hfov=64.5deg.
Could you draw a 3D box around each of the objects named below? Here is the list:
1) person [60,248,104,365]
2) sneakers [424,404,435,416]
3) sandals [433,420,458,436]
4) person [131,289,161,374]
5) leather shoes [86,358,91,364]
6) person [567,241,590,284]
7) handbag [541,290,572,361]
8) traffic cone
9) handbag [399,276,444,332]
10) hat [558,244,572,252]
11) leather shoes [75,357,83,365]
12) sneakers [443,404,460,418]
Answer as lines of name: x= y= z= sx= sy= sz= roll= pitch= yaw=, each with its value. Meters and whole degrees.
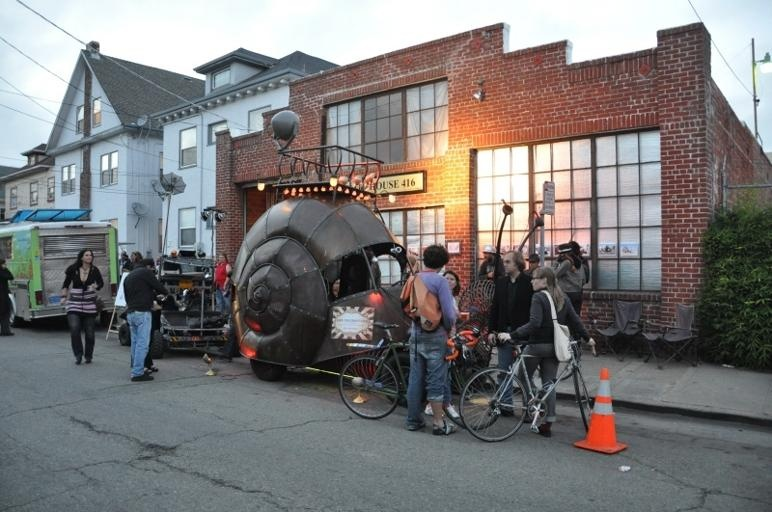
person: x=-6.880 y=1.178 z=13.958 sx=0.770 sy=2.560 sz=1.003 roll=-5 pitch=10 yaw=-29
sneakers: x=0.724 y=2.662 z=10.545 sx=0.101 sy=0.151 sz=0.302 roll=-1 pitch=-3 yaw=12
sandals: x=0.923 y=2.729 z=9.792 sx=0.374 sy=0.184 sz=0.167 roll=-1 pitch=1 yaw=-44
person: x=-4.988 y=1.641 z=12.537 sx=0.523 sy=1.643 sz=0.761 roll=-3 pitch=9 yaw=-23
leather shoes: x=-6.711 y=2.362 z=13.805 sx=0.094 sy=0.166 sz=0.120 roll=0 pitch=3 yaw=-7
person: x=4.125 y=0.158 z=13.164 sx=0.326 sy=0.927 sz=0.650 roll=-8 pitch=10 yaw=8
handbag: x=2.682 y=1.127 z=9.620 sx=0.324 sy=0.981 sz=0.538 roll=-1 pitch=-2 yaw=28
traffic cone: x=3.271 y=2.336 z=9.300 sx=0.738 sy=1.184 sz=0.623 roll=4 pitch=9 yaw=23
handbag: x=0.586 y=0.783 z=9.940 sx=0.394 sy=0.815 sz=0.747 roll=-17 pitch=26 yaw=-39
hat: x=3.791 y=-0.159 z=13.078 sx=0.211 sy=0.199 sz=0.167 roll=-5 pitch=-28 yaw=3
leather shoes: x=-6.862 y=2.331 z=13.639 sx=0.103 sy=0.101 sz=0.161 roll=9 pitch=38 yaw=9
sneakers: x=1.036 y=2.504 z=10.053 sx=0.162 sy=0.141 sz=0.306 roll=9 pitch=8 yaw=-16
